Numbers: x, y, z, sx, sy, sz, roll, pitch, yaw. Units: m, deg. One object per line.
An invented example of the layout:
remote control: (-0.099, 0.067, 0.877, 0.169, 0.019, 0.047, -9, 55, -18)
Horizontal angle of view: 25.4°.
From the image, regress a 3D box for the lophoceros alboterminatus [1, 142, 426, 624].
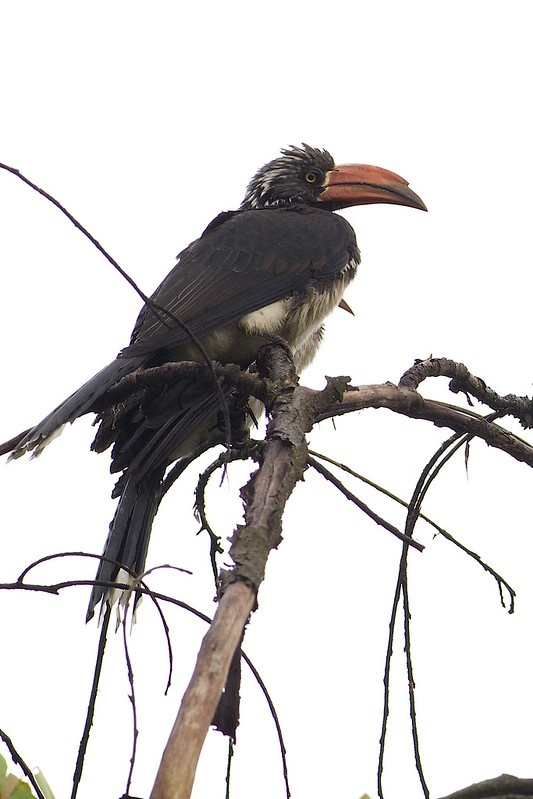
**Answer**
lophoceros alboterminatus: (-0.116, -0.128, 3.930, 1.480, 1.681, 0.483, 4, -28, -21)
